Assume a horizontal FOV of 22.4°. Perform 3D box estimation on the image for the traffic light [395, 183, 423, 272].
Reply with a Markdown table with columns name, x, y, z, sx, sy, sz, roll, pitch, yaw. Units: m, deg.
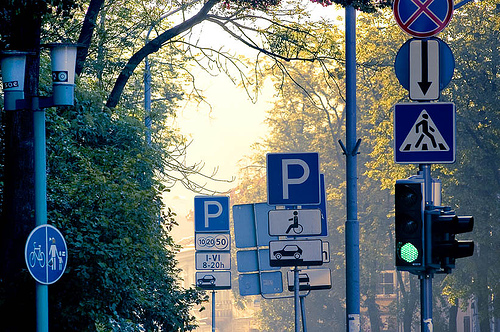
| name | x | y | z | sx | sy | sz | roll | pitch | yaw |
| --- | --- | --- | --- | --- | --- | --- | --- | --- | --- |
| traffic light | 4.504 | 1.755 | 35.858 | 0.759 | 2.449 | 0.552 | 0 | -12 | 6 |

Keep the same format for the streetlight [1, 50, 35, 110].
| name | x | y | z | sx | sy | sz | roll | pitch | yaw |
| --- | --- | --- | --- | --- | --- | --- | --- | --- | --- |
| streetlight | -6.930 | -2.542 | 37.293 | 0.854 | 1.865 | 0.875 | 0 | 0 | -15 |

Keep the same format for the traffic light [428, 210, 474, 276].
| name | x | y | z | sx | sy | sz | roll | pitch | yaw |
| --- | --- | --- | --- | --- | --- | --- | --- | --- | --- |
| traffic light | 5.649 | 2.221 | 35.901 | 1.207 | 1.916 | 0.548 | 0 | -12 | 5 |
